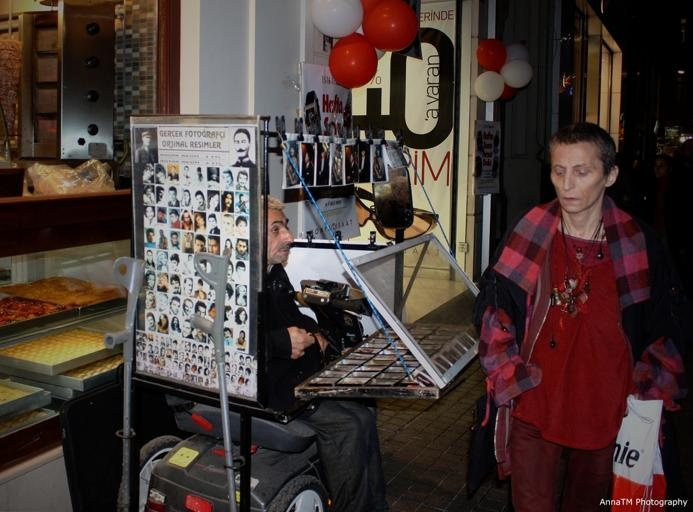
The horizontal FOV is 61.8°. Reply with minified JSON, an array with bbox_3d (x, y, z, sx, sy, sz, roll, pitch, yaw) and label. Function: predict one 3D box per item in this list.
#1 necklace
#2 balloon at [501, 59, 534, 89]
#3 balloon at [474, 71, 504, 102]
[{"bbox_3d":[1.050,0.121,2.612,0.153,0.609,0.254,11,14,31],"label":"necklace"},{"bbox_3d":[2.373,-2.532,8.039,0.371,0.323,0.327,-4,40,3],"label":"balloon"},{"bbox_3d":[1.946,-2.296,7.801,0.402,0.391,0.287,-7,11,-39],"label":"balloon"}]
